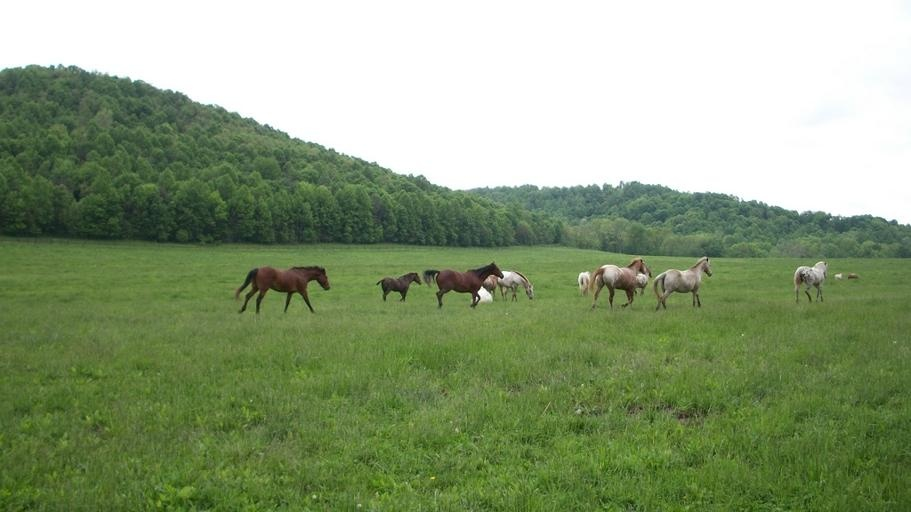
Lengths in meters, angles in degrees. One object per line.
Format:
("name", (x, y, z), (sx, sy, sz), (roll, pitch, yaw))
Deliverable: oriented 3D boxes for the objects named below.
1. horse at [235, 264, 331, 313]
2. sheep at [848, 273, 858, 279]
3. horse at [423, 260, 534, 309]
("horse", (-23.720, 4.626, 99.547), (13.437, 6.657, 2.722), (4, -2, -37))
("sheep", (65.974, 3.308, 119.250), (1.114, 0.542, 1.387), (2, -2, 12))
("horse", (2.101, 4.142, 104.941), (12.470, 4.382, 6.113), (-1, 0, -25))
